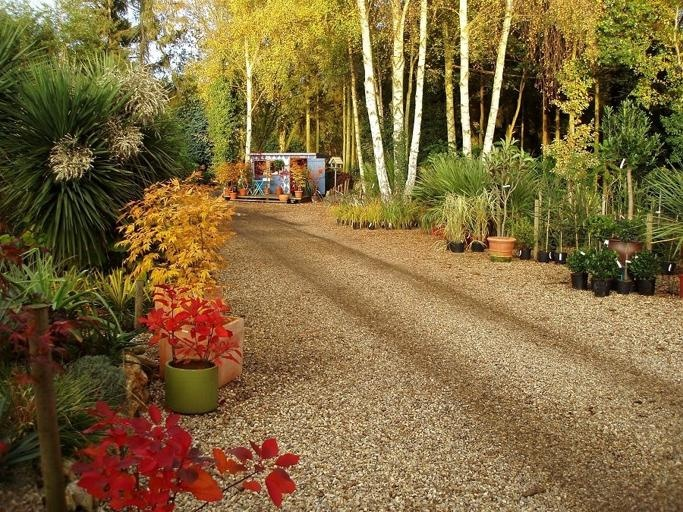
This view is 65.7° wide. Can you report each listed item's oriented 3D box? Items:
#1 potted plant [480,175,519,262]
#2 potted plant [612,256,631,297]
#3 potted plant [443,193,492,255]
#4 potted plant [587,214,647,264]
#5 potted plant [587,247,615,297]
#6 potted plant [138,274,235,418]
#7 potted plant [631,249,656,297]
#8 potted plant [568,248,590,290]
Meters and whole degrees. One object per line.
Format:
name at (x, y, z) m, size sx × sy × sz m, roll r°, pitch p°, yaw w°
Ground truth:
potted plant at (3.056, -0.753, 10.105) m, size 0.541 × 1.383 × 1.772 m, roll 4°, pitch 12°, yaw 15°
potted plant at (3.967, 0.248, 7.400) m, size 0.235 × 0.506 × 0.370 m, roll 7°, pitch 12°, yaw 30°
potted plant at (2.396, -0.768, 10.798) m, size 0.959 × 1.385 × 1.168 m, roll -6°, pitch 10°, yaw -28°
potted plant at (4.166, -0.224, 7.914) m, size 0.388 × 0.680 × 0.577 m, roll 1°, pitch 1°, yaw 15°
potted plant at (3.638, 0.216, 7.355) m, size 0.395 × 0.655 × 0.377 m, roll -4°, pitch 8°, yaw -40°
potted plant at (-1.125, 0.721, 4.079) m, size 0.649 × 0.887 × 0.604 m, roll 2°, pitch 2°, yaw -9°
potted plant at (4.202, 0.248, 7.270) m, size 0.371 × 0.560 × 0.339 m, roll -5°, pitch 1°, yaw -44°
potted plant at (3.374, 0.216, 7.563) m, size 0.305 × 0.537 × 0.374 m, roll -2°, pitch -6°, yaw 13°
